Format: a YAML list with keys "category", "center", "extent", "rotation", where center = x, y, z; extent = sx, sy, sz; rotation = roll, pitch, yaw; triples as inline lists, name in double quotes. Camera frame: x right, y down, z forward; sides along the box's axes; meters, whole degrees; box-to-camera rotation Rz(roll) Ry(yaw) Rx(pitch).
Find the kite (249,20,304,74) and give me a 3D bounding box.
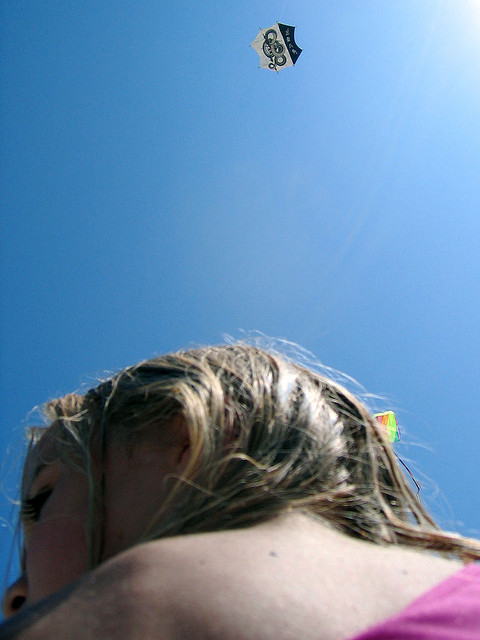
- category: "kite"
  center: [0.259, -2.120, 4.458]
  extent: [0.443, 0.004, 0.385]
  rotation: [-9, -65, -23]
